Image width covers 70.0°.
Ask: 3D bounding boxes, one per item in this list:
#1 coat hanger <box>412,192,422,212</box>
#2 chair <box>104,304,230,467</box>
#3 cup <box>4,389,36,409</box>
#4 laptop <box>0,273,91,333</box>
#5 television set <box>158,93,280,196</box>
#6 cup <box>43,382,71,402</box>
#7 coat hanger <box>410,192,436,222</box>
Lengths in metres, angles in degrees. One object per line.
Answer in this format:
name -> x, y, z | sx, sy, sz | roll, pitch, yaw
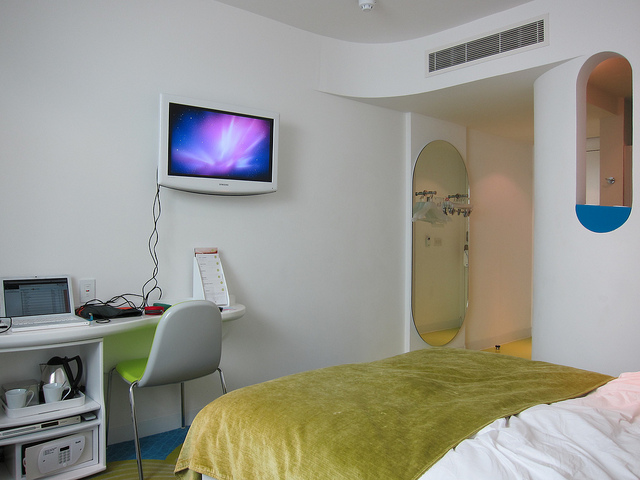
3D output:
coat hanger -> 0.984, -0.361, 4.627 | 0.108, 0.143, 0.020 | -6, 6, -43
chair -> -0.979, 0.865, 2.930 | 0.653, 0.977, 0.672 | -1, 6, -44
cup -> -1.631, 0.858, 2.458 | 0.082, 0.082, 0.120 | -15, -21, 35
laptop -> -1.613, 0.297, 2.608 | 0.357, 0.239, 0.356 | 2, 1, -37
television set -> -0.736, -0.670, 3.352 | 0.897, 0.677, 0.089 | 0, 6, -31
cup -> -1.494, 0.841, 2.535 | 0.086, 0.096, 0.133 | -10, -15, 40
coat hanger -> 1.009, -0.325, 4.658 | 0.207, 0.271, 0.063 | -2, -12, -3
